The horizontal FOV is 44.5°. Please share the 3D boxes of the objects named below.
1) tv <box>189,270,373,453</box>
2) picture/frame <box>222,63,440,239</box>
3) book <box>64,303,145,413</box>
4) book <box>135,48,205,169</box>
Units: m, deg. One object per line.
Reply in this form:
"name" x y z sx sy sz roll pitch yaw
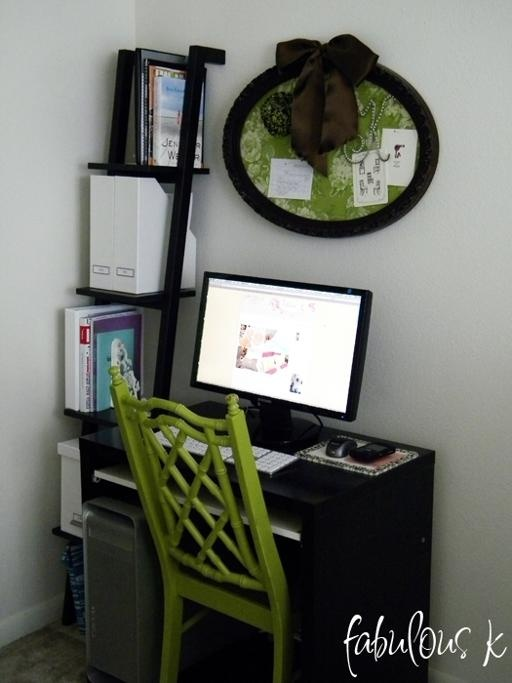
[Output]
"tv" 0.079 0.050 1.612 0.397 0.333 0.161 12 17 40
"picture/frame" 0.168 -0.511 1.688 0.658 0.445 0.097 15 15 41
"book" -0.484 0.047 1.936 0.153 0.397 0.322 5 8 36
"book" -0.295 -0.706 1.908 0.151 0.330 0.072 3 11 -8
